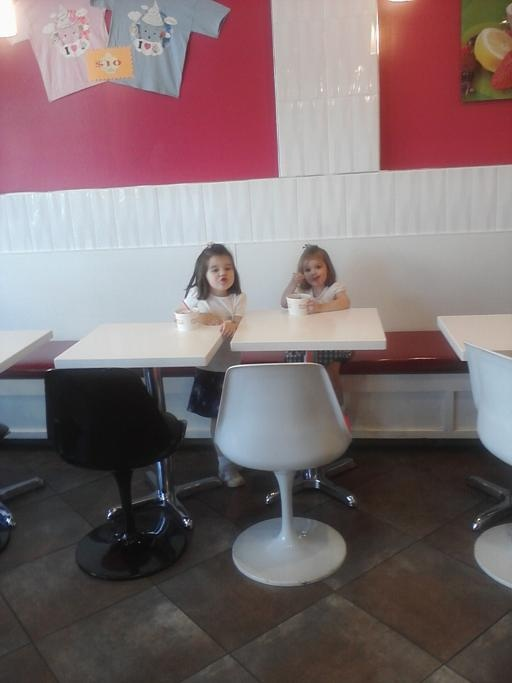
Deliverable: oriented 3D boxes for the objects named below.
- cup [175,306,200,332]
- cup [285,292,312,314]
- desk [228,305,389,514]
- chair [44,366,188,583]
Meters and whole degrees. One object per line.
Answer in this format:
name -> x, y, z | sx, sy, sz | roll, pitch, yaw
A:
cup -> -0.257, -0.074, 1.925 | 0.089, 0.061, 0.069 | -2, 6, -22
cup -> 0.165, -0.150, 2.025 | 0.080, 0.058, 0.080 | 0, 8, 0
desk -> 0.169, 0.152, 1.993 | 0.753, 0.708, 0.700 | -1, 9, 5
chair -> -0.424, 0.364, 1.659 | 0.389, 0.675, 0.488 | -4, 11, -1
